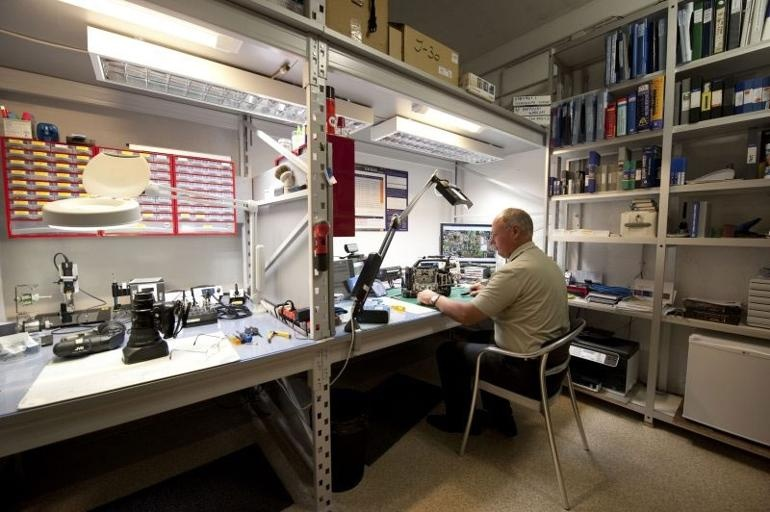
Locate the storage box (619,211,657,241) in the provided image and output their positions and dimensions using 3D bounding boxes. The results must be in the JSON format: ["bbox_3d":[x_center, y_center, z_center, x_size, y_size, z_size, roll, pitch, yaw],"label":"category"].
[{"bbox_3d":[2.002,-0.223,3.983,0.226,0.217,0.202,4,-15,6],"label":"storage box"}]

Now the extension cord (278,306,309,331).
[{"bbox_3d":[-0.626,0.389,3.274,0.099,0.125,0.322,-9,17,-44],"label":"extension cord"}]

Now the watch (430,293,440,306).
[{"bbox_3d":[0.366,0.316,3.624,0.054,0.077,0.083,8,18,26],"label":"watch"}]

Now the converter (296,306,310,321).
[{"bbox_3d":[-0.518,0.376,3.192,0.077,0.084,0.060,-3,5,-12],"label":"converter"}]

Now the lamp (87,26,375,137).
[{"bbox_3d":[-1.011,-1.140,3.284,1.599,0.506,0.338,-3,5,-17],"label":"lamp"}]

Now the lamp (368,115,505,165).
[{"bbox_3d":[0.456,-0.982,4.295,1.269,0.248,0.400,-5,6,-42],"label":"lamp"}]

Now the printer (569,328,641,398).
[{"bbox_3d":[1.833,0.827,4.162,0.602,0.374,0.452,6,12,43],"label":"printer"}]

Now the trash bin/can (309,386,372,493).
[{"bbox_3d":[-0.251,1.247,3.492,0.525,0.578,0.552,0,2,-10],"label":"trash bin/can"}]

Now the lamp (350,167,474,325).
[{"bbox_3d":[0.077,-0.087,3.837,0.895,1.022,1.235,-2,4,-11],"label":"lamp"}]

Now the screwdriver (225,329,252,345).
[{"bbox_3d":[-0.903,0.515,3.155,0.144,0.060,0.148,-3,5,-24],"label":"screwdriver"}]

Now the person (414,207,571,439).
[{"bbox_3d":[0.858,0.542,3.838,1.186,1.769,0.974,4,5,26],"label":"person"}]
